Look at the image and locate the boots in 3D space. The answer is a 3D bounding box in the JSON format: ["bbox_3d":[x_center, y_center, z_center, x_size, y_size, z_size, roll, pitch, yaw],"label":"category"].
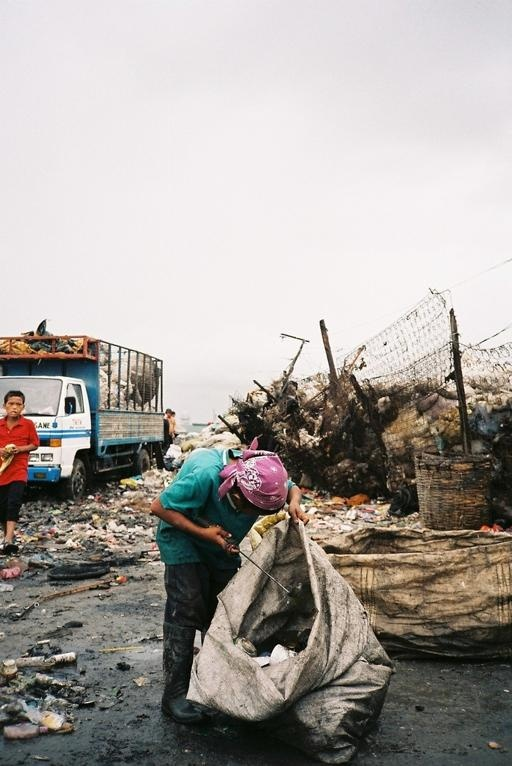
[{"bbox_3d":[-0.344,1.326,3.129,0.181,0.426,0.248,0,-1,-8],"label":"boots"}]

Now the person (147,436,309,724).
[{"bbox_3d":[-0.154,0.906,3.231,0.708,1.271,0.567,0,-1,3],"label":"person"}]

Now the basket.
[{"bbox_3d":[2.157,1.175,7.444,0.854,0.812,0.858,-2,-4,-12],"label":"basket"}]
